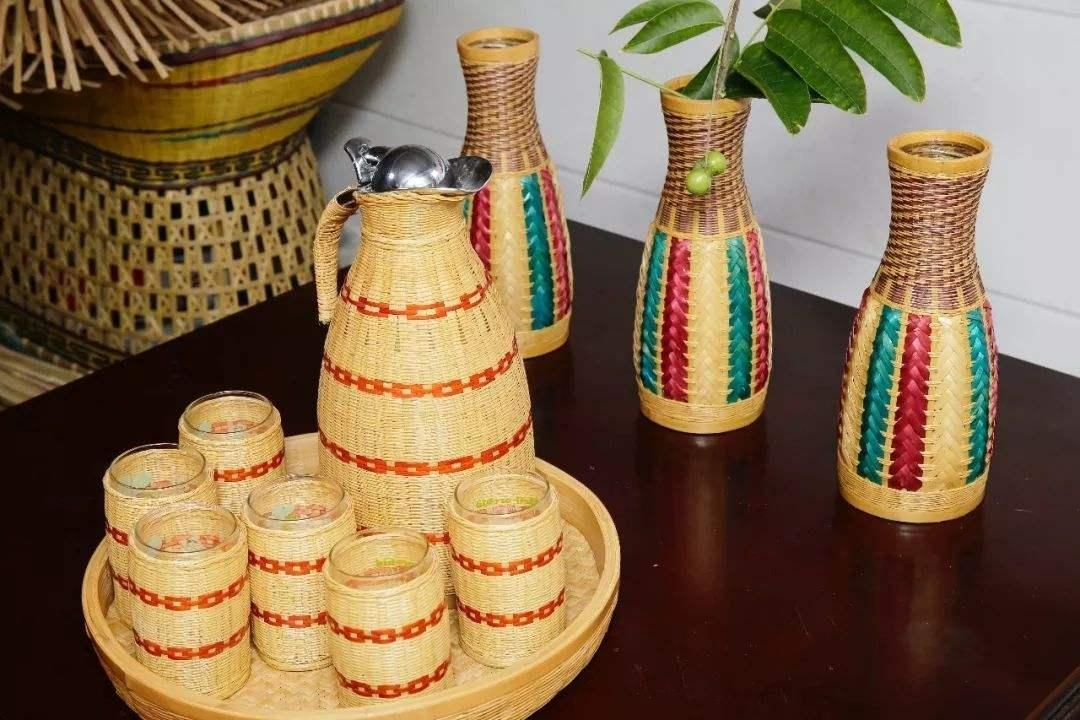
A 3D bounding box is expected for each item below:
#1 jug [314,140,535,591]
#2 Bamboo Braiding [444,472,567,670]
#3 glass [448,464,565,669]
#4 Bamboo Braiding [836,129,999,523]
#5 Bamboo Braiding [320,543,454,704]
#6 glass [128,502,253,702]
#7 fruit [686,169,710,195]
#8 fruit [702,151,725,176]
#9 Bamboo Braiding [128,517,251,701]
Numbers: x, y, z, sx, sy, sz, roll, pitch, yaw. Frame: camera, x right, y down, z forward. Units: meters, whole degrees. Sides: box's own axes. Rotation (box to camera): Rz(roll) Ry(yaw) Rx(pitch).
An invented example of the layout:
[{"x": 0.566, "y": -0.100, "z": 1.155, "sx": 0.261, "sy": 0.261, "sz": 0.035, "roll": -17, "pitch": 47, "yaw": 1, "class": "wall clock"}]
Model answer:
[{"x": -0.090, "y": 0.000, "z": 0.785, "sx": 0.192, "sy": 0.306, "sz": 0.175, "roll": -7, "pitch": 25, "yaw": -10, "class": "jug"}, {"x": -0.023, "y": 0.154, "z": 0.720, "sx": 0.078, "sy": 0.131, "sz": 0.075, "roll": 0, "pitch": 30, "yaw": 8, "class": "Bamboo Braiding"}, {"x": -0.021, "y": 0.159, "z": 0.740, "sx": 0.086, "sy": 0.119, "sz": 0.084, "roll": -3, "pitch": 9, "yaw": 10, "class": "glass"}, {"x": 0.312, "y": -0.011, "z": 0.806, "sx": 0.119, "sy": 0.310, "sz": 0.077, "roll": 7, "pitch": 32, "yaw": 19, "class": "Bamboo Braiding"}, {"x": -0.104, "y": 0.180, "z": 0.685, "sx": 0.079, "sy": 0.106, "sz": 0.068, "roll": -5, "pitch": 29, "yaw": 0, "class": "Bamboo Braiding"}, {"x": -0.244, "y": 0.182, "z": 0.714, "sx": 0.075, "sy": 0.104, "sz": 0.070, "roll": -1, "pitch": 4, "yaw": -3, "class": "glass"}, {"x": 0.129, "y": -0.142, "z": 0.805, "sx": 0.017, "sy": 0.028, "sz": 0.035, "roll": 2, "pitch": 29, "yaw": 11, "class": "fruit"}, {"x": 0.140, "y": -0.156, "z": 0.794, "sx": 0.020, "sy": 0.018, "sz": 0.019, "roll": 2, "pitch": -16, "yaw": 5, "class": "fruit"}, {"x": -0.249, "y": 0.184, "z": 0.712, "sx": 0.077, "sy": 0.102, "sz": 0.067, "roll": -2, "pitch": 2, "yaw": -25, "class": "Bamboo Braiding"}]
